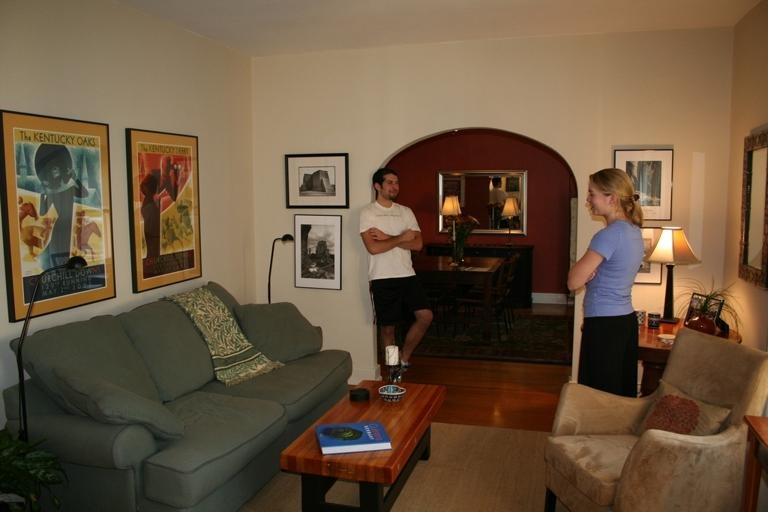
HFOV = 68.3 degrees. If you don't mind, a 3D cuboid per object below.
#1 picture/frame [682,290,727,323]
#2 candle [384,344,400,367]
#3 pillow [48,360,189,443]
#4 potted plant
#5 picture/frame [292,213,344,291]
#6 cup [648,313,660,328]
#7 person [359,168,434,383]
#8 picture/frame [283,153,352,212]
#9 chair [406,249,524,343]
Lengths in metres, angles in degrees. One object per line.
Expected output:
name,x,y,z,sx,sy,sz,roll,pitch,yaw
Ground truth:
picture/frame,2.771,0.439,4.895,0.221,0.279,0.027,13,-6,31
candle,0.065,0.767,4.365,0.138,0.145,0.138,0,-1,-5
pillow,-1.771,0.990,3.746,0.820,0.507,0.296,0,9,15
potted plant,2.917,0.439,5.158,0.493,0.489,0.505,-1,-2,40
picture/frame,-0.687,-0.066,6.134,0.776,1.208,0.025,0,1,16
cup,2.349,0.564,4.969,0.105,0.111,0.110,0,3,0
person,0.120,0.233,5.844,0.700,2.276,0.611,-3,8,-4
picture/frame,-0.679,-0.812,6.086,0.596,0.524,0.041,1,2,11
chair,1.098,0.494,7.796,1.086,0.800,1.567,0,8,17
